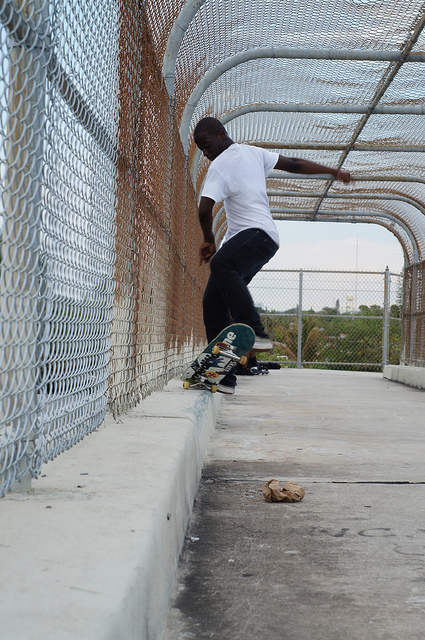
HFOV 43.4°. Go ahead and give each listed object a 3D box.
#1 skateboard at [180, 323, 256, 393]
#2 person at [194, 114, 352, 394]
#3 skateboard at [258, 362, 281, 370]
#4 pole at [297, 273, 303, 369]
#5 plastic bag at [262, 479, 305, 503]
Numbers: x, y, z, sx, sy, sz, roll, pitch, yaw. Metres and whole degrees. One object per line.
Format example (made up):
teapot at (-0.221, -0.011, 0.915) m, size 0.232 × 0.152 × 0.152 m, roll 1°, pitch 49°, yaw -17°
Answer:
skateboard at (0.017, 0.353, 3.833) m, size 0.295 × 0.133 × 0.798 m, roll 24°, pitch -46°, yaw -15°
person at (0.478, -0.544, 4.099) m, size 1.313 × 1.889 × 0.876 m, roll 5°, pitch -13°, yaw -8°
skateboard at (1.486, 1.175, 13.785) m, size 0.337 × 0.161 × 0.665 m, roll -1°, pitch -4°, yaw 28°
pole at (2.625, -0.001, 16.065) m, size 0.140 × 2.792 × 0.345 m, roll 1°, pitch -3°, yaw 6°
plastic bag at (0.261, 0.633, 1.993) m, size 0.093 × 0.047 × 0.077 m, roll -2°, pitch -6°, yaw -4°
